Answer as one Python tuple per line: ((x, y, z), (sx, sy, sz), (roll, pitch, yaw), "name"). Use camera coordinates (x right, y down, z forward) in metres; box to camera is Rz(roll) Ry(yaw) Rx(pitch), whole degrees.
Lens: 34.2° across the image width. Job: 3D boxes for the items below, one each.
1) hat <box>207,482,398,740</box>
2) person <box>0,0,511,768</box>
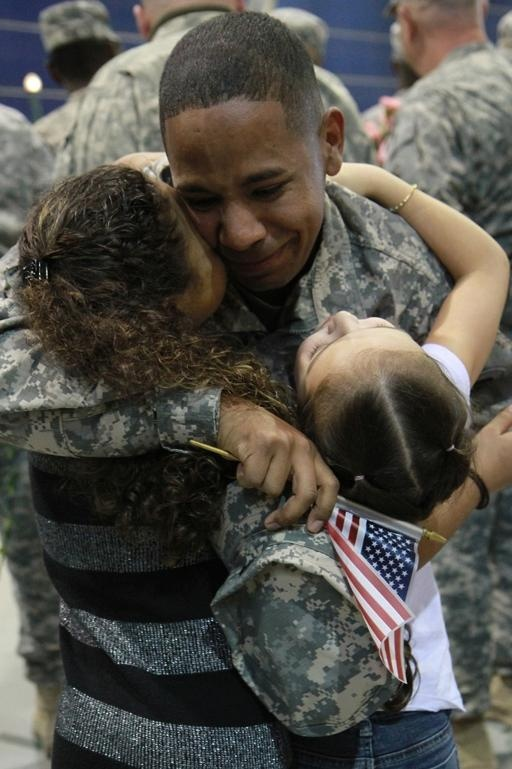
((0.033, 0.316, 1.136), (0.174, 0.281, 0.313), (-22, 42, -22), "hat")
((0.034, -0.005, 1.392), (0.836, 1.022, 0.838), (14, 42, 20), "person")
